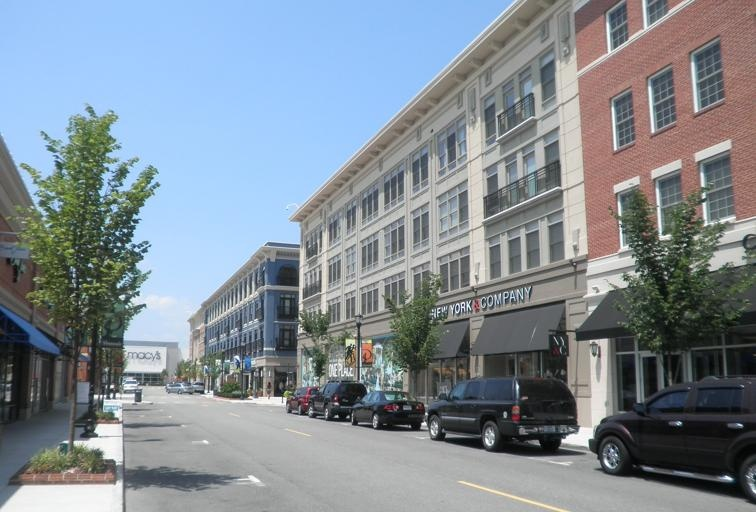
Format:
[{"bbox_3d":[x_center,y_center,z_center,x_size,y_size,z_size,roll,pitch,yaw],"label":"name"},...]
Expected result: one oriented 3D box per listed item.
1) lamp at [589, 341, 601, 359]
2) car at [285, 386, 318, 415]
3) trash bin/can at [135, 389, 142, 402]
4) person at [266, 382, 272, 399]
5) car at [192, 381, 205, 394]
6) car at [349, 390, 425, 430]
[{"bbox_3d":[9.560,4.072,29.000,0.422,0.697,0.476,-15,-24,40],"label":"lamp"},{"bbox_3d":[-5.019,9.320,42.695,1.306,1.152,2.968,6,-11,-26],"label":"car"},{"bbox_3d":[-20.023,11.558,54.776,0.491,1.023,1.472,8,-20,-22],"label":"trash bin/can"},{"bbox_3d":[-12.758,15.334,76.629,0.479,1.756,0.720,8,-19,-22],"label":"person"},{"bbox_3d":[-26.734,19.339,97.643,1.858,1.652,3.343,0,-15,-3],"label":"car"},{"bbox_3d":[0.318,7.448,32.138,1.707,1.885,3.638,18,-25,-41],"label":"car"}]
